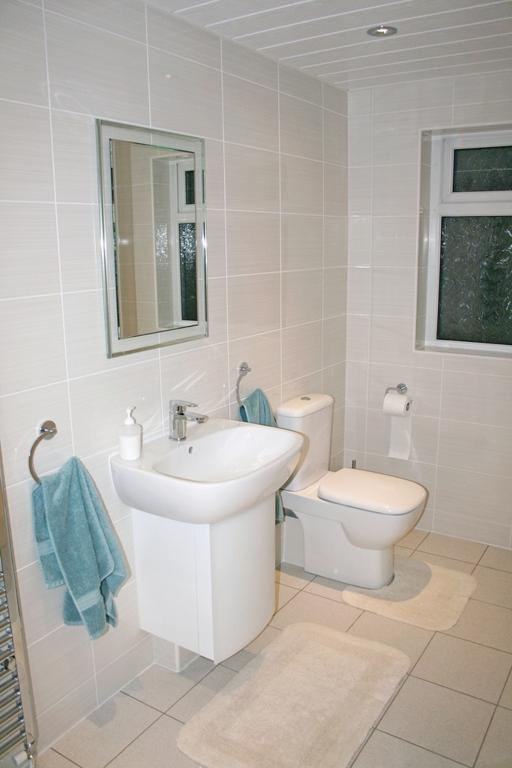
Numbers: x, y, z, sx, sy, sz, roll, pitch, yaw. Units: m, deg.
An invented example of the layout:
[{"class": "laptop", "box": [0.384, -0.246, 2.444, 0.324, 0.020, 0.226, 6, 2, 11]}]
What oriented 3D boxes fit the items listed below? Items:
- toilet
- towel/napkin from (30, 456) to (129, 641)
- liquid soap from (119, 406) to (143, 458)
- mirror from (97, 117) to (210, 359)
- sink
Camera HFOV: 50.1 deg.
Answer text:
[{"class": "toilet", "box": [0.444, 0.514, 2.534, 0.682, 0.794, 0.421, 8, 15, 36]}, {"class": "towel/napkin", "box": [-0.475, 0.473, 1.491, 0.093, 0.544, 0.255, 4, 8, 32]}, {"class": "liquid soap", "box": [-0.382, 0.147, 1.641, 0.072, 0.154, 0.078, 2, 8, 20]}, {"class": "mirror", "box": [-0.314, -0.452, 1.715, 0.049, 0.710, 0.532, 3, 8, 27]}, {"class": "sink", "box": [-0.114, 0.288, 1.759, 0.458, 0.219, 0.627, 5, 9, 34]}]
